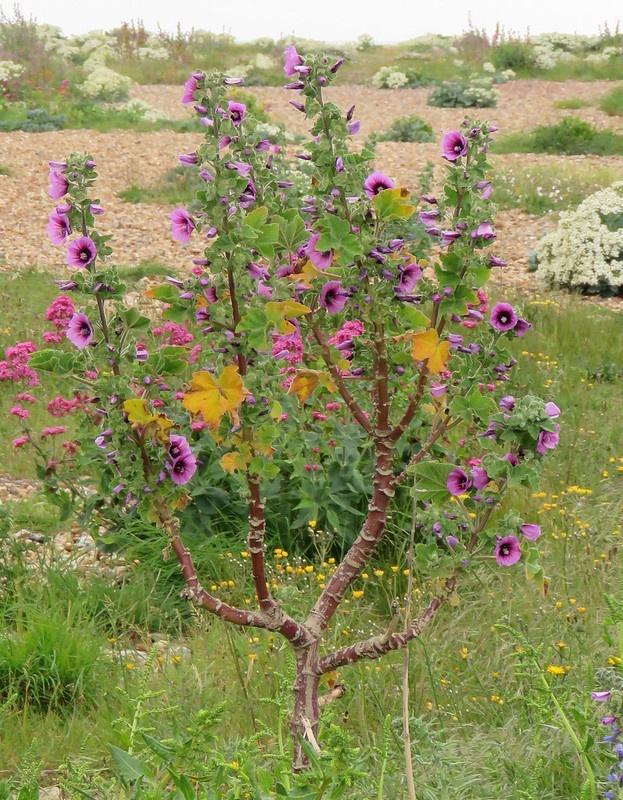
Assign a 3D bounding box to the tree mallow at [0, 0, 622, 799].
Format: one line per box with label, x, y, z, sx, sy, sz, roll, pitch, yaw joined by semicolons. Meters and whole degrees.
tree mallow;-0.111;-0.031;5.120;1.939;2.366;2.537;0;16;9
